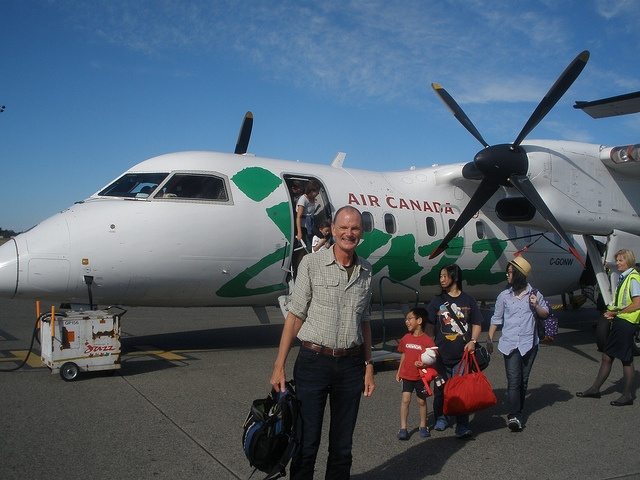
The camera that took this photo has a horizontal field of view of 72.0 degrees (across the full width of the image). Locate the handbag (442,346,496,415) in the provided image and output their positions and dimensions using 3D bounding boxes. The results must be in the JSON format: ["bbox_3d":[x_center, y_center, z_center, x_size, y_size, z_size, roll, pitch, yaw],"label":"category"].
[{"bbox_3d":[1.711,1.742,5.283,0.654,0.785,0.407,3,0,-24],"label":"handbag"}]

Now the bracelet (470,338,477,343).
[{"bbox_3d":[1.910,1.265,5.495,0.061,0.039,0.056,-4,-19,34],"label":"bracelet"}]

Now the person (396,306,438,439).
[{"bbox_3d":[1.222,1.680,5.573,0.500,1.658,0.599,3,0,11],"label":"person"}]

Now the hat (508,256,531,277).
[{"bbox_3d":[2.699,0.357,6.086,0.252,0.114,0.293,41,-7,-22],"label":"hat"}]

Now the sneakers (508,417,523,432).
[{"bbox_3d":[2.539,2.389,5.731,0.171,0.204,0.311,3,1,25],"label":"sneakers"}]

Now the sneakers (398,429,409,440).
[{"bbox_3d":[1.002,2.363,5.327,0.081,0.080,0.189,0,-15,3],"label":"sneakers"}]

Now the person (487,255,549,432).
[{"bbox_3d":[2.591,1.367,5.912,0.748,2.437,0.568,2,1,-44],"label":"person"}]

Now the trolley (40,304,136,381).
[{"bbox_3d":[-3.884,1.666,7.059,0.722,0.899,1.170,-5,-8,43],"label":"trolley"}]

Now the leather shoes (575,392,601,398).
[{"bbox_3d":[4.237,2.456,6.971,0.275,0.072,0.099,6,-6,11],"label":"leather shoes"}]
